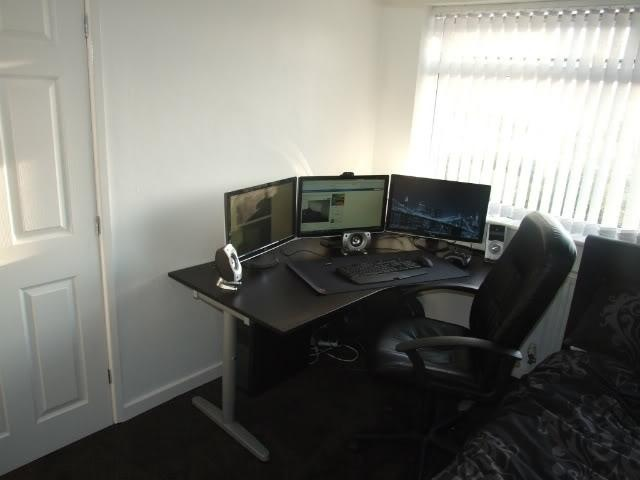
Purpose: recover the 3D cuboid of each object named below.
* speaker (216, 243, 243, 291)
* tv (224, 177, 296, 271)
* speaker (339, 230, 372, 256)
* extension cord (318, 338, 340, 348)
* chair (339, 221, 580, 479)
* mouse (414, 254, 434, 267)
[{"bbox_3d":[-0.485,0.134,2.661,0.138,0.224,0.156,-1,20,-10],"label":"speaker"},{"bbox_3d":[-0.358,-0.093,2.884,0.040,0.363,0.476,8,18,32],"label":"tv"},{"bbox_3d":[0.224,0.017,3.206,0.215,0.188,0.130,-3,10,-17],"label":"speaker"},{"bbox_3d":[0.051,0.731,3.522,0.099,0.064,0.053,14,4,24],"label":"extension cord"},{"bbox_3d":[0.681,0.255,3.339,1.206,1.995,1.292,12,20,11],"label":"chair"},{"bbox_3d":[0.646,0.119,3.061,0.055,0.033,0.090,3,22,-37],"label":"mouse"}]
